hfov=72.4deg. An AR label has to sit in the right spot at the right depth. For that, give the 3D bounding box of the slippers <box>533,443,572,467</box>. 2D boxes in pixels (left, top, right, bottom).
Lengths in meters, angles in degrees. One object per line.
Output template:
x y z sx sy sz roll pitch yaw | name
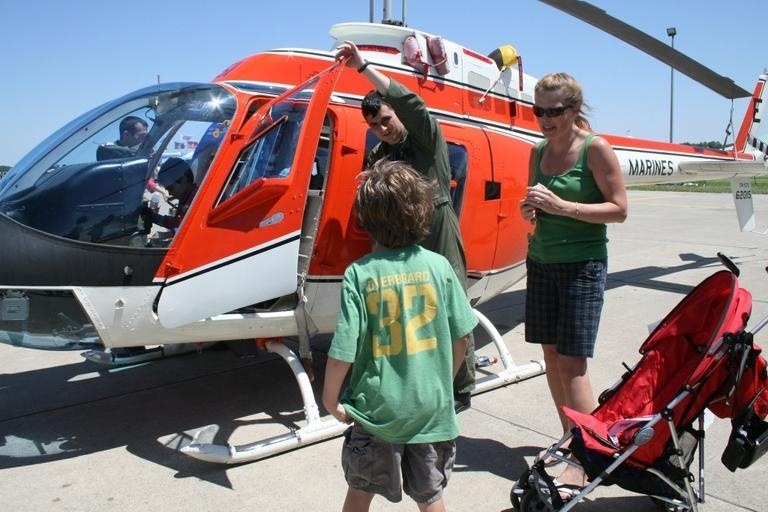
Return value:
1.000 1.165 3.081 0.143 0.096 0.363 -5 -9 35 | slippers

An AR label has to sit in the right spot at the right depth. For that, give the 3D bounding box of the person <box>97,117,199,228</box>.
-1.589 -0.559 3.531 0.618 0.749 0.376 12 20 38 | person

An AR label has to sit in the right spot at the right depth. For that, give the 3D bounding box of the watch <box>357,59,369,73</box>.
-0.105 -1.146 3.172 0.022 0.075 0.077 43 -17 -10 | watch

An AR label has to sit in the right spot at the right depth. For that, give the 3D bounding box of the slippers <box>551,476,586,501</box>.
1.014 1.291 2.895 0.086 0.085 0.223 -25 -31 38 | slippers
